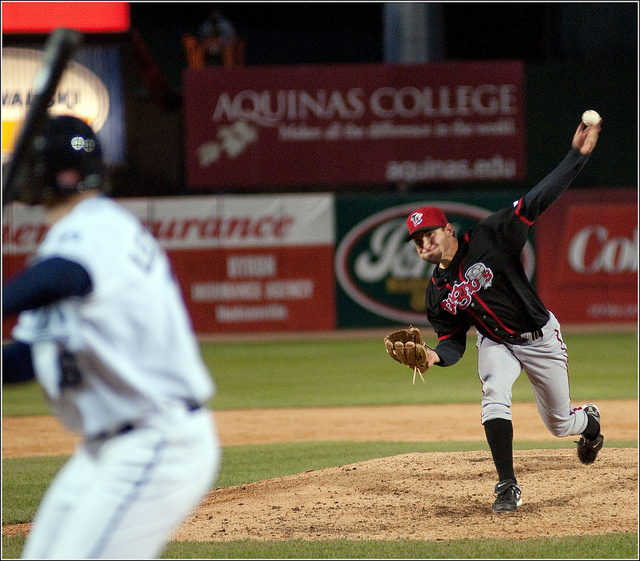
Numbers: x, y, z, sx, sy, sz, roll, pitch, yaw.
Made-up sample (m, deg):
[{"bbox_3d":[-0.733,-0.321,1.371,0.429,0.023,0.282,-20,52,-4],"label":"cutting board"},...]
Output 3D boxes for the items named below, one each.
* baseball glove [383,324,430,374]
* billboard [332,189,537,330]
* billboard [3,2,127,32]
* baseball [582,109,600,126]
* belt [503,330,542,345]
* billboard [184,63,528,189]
[{"bbox_3d":[0.819,0.625,12.170,0.378,0.428,0.345,-3,4,17],"label":"baseball glove"},{"bbox_3d":[1.272,-0.299,19.622,2.096,2.042,0.517,-4,4,0],"label":"billboard"},{"bbox_3d":[-3.892,-4.075,20.873,1.872,0.551,0.274,-5,4,-9],"label":"billboard"},{"bbox_3d":[2.396,-1.436,11.893,0.145,0.138,0.262,-3,4,11],"label":"baseball"},{"bbox_3d":[1.856,0.528,12.142,0.174,0.049,0.170,-15,4,19],"label":"belt"},{"bbox_3d":[0.552,-2.358,20.362,5.007,2.017,0.401,-4,4,1],"label":"billboard"}]
